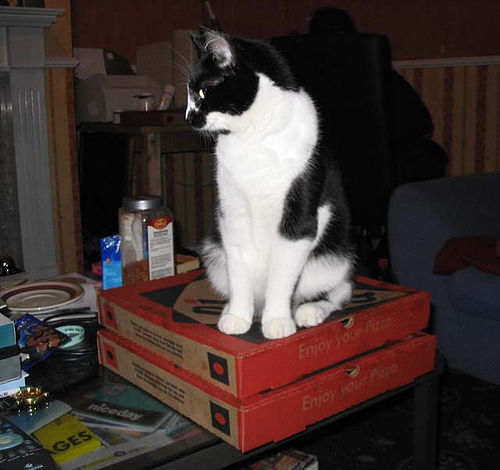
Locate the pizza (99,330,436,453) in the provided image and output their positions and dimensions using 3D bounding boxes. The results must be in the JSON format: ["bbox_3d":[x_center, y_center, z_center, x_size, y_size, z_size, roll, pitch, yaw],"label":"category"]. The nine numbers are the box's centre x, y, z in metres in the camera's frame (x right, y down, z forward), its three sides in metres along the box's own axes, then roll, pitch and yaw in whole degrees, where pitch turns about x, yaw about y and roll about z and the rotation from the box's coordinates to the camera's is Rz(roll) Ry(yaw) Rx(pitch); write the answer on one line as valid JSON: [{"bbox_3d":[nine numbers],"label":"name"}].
[{"bbox_3d":[-0.055,0.249,0.919,0.284,0.052,0.270,-8,10,-38],"label":"pizza"}]

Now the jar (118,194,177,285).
[{"bbox_3d":[-0.252,0.016,1.301,0.115,0.190,0.119,-3,5,0],"label":"jar"}]

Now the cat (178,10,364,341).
[{"bbox_3d":[0.027,-0.113,0.999,0.362,0.551,0.412,0,12,11],"label":"cat"}]
